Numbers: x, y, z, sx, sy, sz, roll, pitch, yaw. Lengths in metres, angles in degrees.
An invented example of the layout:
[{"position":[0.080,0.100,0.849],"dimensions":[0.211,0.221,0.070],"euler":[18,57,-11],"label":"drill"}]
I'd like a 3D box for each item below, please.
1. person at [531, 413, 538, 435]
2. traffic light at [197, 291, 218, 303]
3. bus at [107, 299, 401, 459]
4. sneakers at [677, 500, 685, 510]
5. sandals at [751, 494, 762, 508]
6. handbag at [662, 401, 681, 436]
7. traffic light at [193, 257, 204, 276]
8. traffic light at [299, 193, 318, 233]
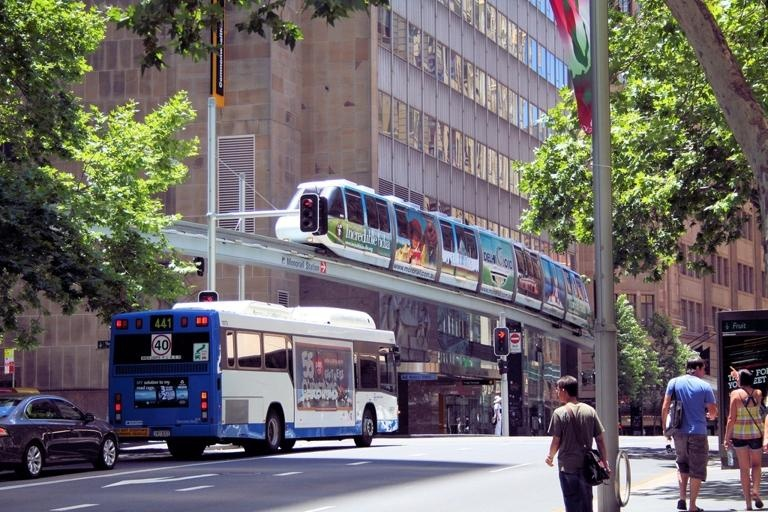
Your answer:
[{"position":[9.179,10.130,75.508],"dimensions":[0.615,1.239,1.214],"euler":[-2,-8,15],"label":"person"},{"position":[-5.885,1.329,41.598],"dimensions":[0.412,0.336,0.058],"euler":[0,-3,7],"label":"traffic light"},{"position":[-3.656,3.674,38.214],"dimensions":[3.596,3.901,10.426],"euler":[-4,-9,30],"label":"bus"},{"position":[5.664,4.686,23.556],"dimensions":[0.157,0.188,0.291],"euler":[-4,-14,12],"label":"sneakers"},{"position":[7.147,4.663,23.726],"dimensions":[0.105,0.135,0.313],"euler":[-18,-67,37],"label":"sandals"},{"position":[5.524,3.059,23.675],"dimensions":[0.193,0.567,0.586],"euler":[3,-9,1],"label":"handbag"},{"position":[-6.384,0.285,42.504],"dimensions":[0.203,0.969,0.522],"euler":[3,2,28],"label":"traffic light"},{"position":[-2.237,-1.378,37.816],"dimensions":[0.620,1.177,0.494],"euler":[1,-12,-11],"label":"traffic light"}]
